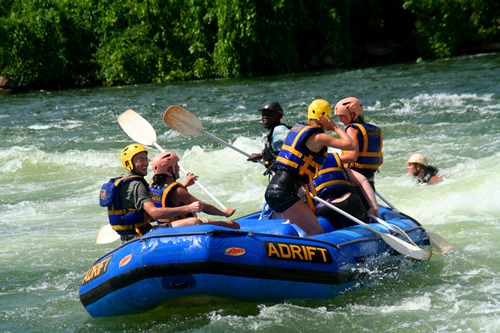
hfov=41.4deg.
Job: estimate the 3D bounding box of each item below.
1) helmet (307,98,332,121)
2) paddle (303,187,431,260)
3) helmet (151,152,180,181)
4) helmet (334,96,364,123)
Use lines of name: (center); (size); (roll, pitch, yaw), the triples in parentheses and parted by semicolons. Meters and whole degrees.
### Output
helmet: (1.420, -1.163, 13.397); (0.413, 0.406, 0.475); (8, 18, 6)
paddle: (2.315, 1.218, 13.536); (2.887, 0.203, 0.525); (23, 55, 6)
helmet: (-1.730, -0.022, 13.080); (0.651, 0.483, 0.448); (-13, 9, -9)
helmet: (2.133, -1.249, 14.179); (0.683, 0.427, 0.460); (10, 4, -1)
